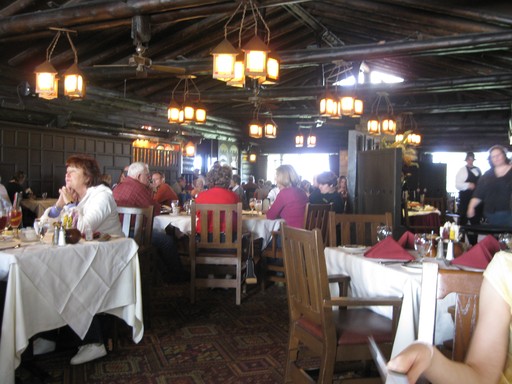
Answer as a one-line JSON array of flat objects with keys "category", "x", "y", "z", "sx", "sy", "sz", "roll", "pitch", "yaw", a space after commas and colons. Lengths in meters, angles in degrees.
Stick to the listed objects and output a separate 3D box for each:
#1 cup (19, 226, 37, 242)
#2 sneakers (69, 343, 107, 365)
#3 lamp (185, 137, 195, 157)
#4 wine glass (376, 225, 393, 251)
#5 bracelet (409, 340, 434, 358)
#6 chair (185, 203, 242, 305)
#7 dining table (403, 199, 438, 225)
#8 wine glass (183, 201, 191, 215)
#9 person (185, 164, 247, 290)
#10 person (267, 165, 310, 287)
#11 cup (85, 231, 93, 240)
[{"category": "cup", "x": -1.840, "y": 0.338, "z": 3.567, "sx": 0.114, "sy": 0.086, "sz": 0.105, "roll": 3, "pitch": -4, "yaw": 0}, {"category": "sneakers", "x": -1.378, "y": 1.327, "z": 3.637, "sx": 0.252, "sy": 0.117, "sz": 0.124, "roll": 8, "pitch": -16, "yaw": -43}, {"category": "lamp", "x": -2.010, "y": -1.314, "z": 13.425, "sx": 0.398, "sy": 0.630, "sz": 0.398, "roll": -1, "pitch": 0, "yaw": -6}, {"category": "wine glass", "x": 1.082, "y": 0.379, "z": 3.744, "sx": 0.155, "sy": 0.194, "sz": 0.160, "roll": 3, "pitch": -6, "yaw": -27}, {"category": "bracelet", "x": 0.737, "y": 0.677, "z": 1.961, "sx": 0.072, "sy": 0.062, "sz": 0.077, "roll": -2, "pitch": -3, "yaw": 33}, {"category": "chair", "x": -0.468, "y": 0.659, "z": 5.065, "sx": 0.616, "sy": 1.141, "sz": 0.544, "roll": 1, "pitch": 7, "yaw": -3}, {"category": "dining table", "x": 2.858, "y": 0.415, "z": 7.823, "sx": 0.425, "sy": 0.385, "sz": 0.945, "roll": 7, "pitch": 9, "yaw": 44}, {"category": "wine glass", "x": -1.001, "y": 0.238, "z": 6.389, "sx": 0.111, "sy": 0.158, "sz": 0.129, "roll": -5, "pitch": -13, "yaw": -42}, {"category": "person", "x": -0.534, "y": 0.278, "z": 5.505, "sx": 0.495, "sy": 1.418, "sz": 0.456, "roll": -3, "pitch": 24, "yaw": -21}, {"category": "person", "x": 0.356, "y": 0.341, "z": 5.675, "sx": 0.512, "sy": 1.406, "sz": 0.605, "roll": -12, "pitch": 18, "yaw": -43}, {"category": "cup", "x": -1.390, "y": 0.362, "z": 3.682, "sx": 0.067, "sy": 0.083, "sz": 0.066, "roll": 0, "pitch": -7, "yaw": 0}]
